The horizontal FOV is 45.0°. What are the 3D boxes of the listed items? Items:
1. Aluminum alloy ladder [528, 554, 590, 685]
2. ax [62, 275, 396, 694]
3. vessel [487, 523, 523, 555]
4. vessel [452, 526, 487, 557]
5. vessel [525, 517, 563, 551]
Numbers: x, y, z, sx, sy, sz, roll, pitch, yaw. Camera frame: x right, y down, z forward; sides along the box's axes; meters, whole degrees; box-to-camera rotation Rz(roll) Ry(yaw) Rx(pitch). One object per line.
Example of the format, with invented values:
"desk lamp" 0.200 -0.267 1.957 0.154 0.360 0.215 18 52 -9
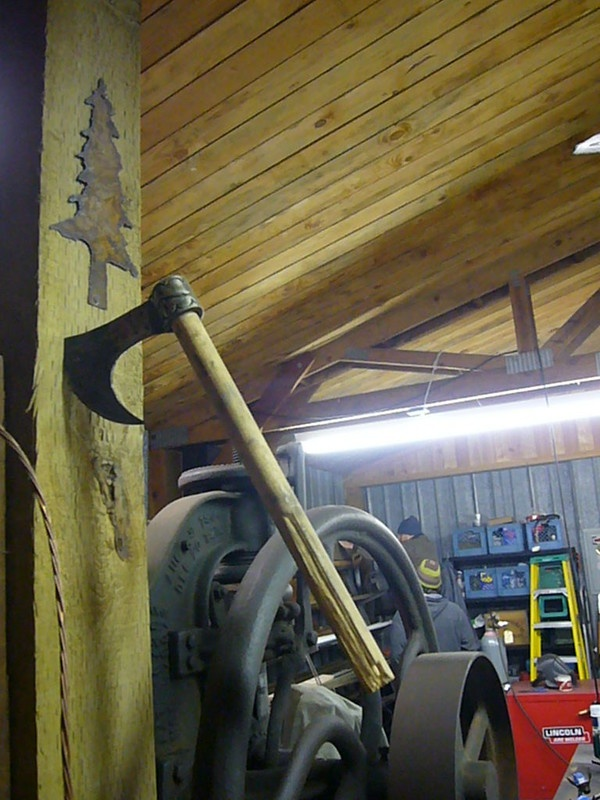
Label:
"Aluminum alloy ladder" 2.871 2.462 8.334 0.628 1.323 0.646 -8 -15 16
"ax" -0.086 0.157 1.231 0.330 0.752 0.084 -39 -5 24
"vessel" 2.489 1.768 9.086 0.456 0.377 0.410 -4 -21 9
"vessel" 2.168 1.844 9.342 0.395 0.332 0.198 -11 -34 26
"vessel" 2.888 1.638 8.827 0.448 0.381 0.420 -4 -19 12
